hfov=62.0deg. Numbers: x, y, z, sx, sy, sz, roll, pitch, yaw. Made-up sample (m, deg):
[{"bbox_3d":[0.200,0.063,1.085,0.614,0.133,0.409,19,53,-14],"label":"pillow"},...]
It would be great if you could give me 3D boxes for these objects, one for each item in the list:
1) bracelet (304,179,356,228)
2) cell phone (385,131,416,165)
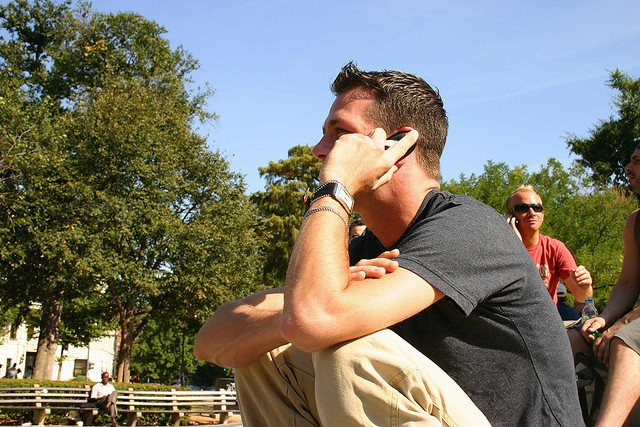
[{"bbox_3d":[0.054,-0.043,3.591,0.243,0.336,0.337,5,-57,5],"label":"bracelet"},{"bbox_3d":[0.549,-0.451,3.735,0.171,0.233,0.081,36,14,32],"label":"cell phone"}]
